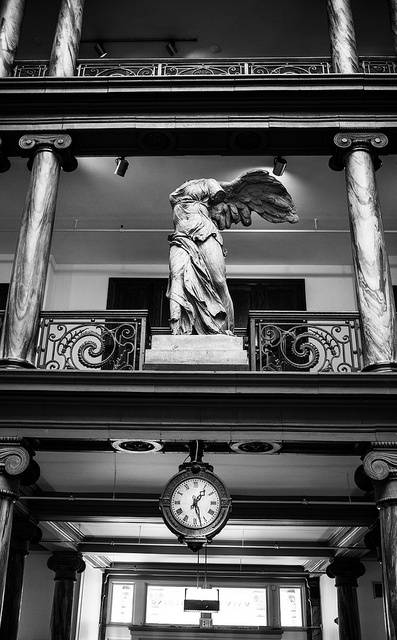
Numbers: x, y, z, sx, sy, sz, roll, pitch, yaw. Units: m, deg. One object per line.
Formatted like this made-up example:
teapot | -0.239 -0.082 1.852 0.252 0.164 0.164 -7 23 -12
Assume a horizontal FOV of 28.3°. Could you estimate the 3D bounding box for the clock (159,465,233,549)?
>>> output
clock | -0.026 1.572 6.628 0.578 0.766 0.165 1 -36 -1
